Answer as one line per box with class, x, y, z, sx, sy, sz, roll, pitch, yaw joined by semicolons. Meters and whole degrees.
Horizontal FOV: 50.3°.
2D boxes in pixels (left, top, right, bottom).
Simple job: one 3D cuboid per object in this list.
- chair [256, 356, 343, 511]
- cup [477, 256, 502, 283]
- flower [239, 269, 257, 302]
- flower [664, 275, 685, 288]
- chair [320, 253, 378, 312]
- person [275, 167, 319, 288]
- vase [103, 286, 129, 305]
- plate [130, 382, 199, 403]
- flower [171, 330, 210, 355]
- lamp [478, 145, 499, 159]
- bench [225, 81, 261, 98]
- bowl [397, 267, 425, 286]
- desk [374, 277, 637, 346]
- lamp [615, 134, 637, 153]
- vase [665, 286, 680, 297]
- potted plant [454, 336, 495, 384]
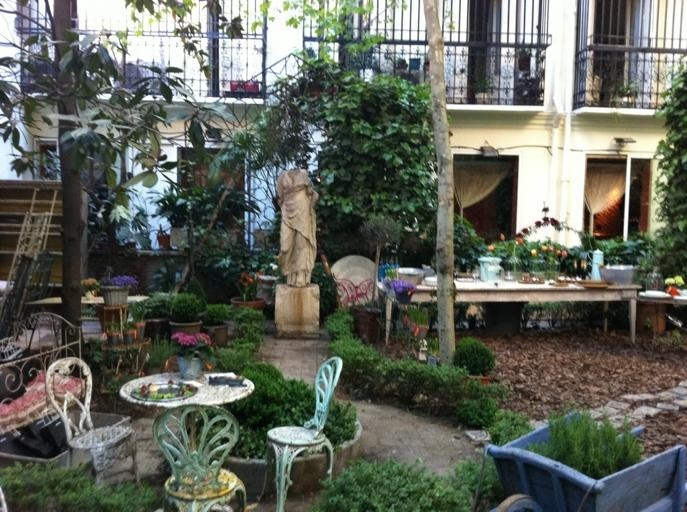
chair;-0.423;1.773;7.427;0.802;1.481;0.922;0;6;-17
cup;2.386;0.196;12.043;0.304;0.400;0.356;1;2;14
flower;-1.641;0.506;12.683;0.350;0.693;0.416;0;0;-3
flower;5.383;0.417;12.081;0.221;0.245;0.255;0;-6;8
chair;0.156;0.412;12.891;0.790;0.630;0.885;0;3;-12
person;-0.774;-0.481;12.032;0.662;1.907;0.397;1;6;-8
vase;-3.137;0.535;10.160;0.239;0.198;0.264;3;4;27
plate;-1.714;1.297;7.074;0.619;0.106;0.402;3;7;-6
flower;-1.552;0.911;7.496;0.389;0.226;0.353;3;6;5
lamp;2.844;-2.124;14.533;0.385;0.239;0.300;4;6;9
bench;-1.994;-3.378;14.679;0.687;0.392;0.571;2;6;-10
bowl;1.025;0.320;11.413;0.419;0.216;0.454;3;7;0
desk;2.701;0.792;12.126;4.673;0.922;1.798;1;7;-15
lamp;5.508;-2.229;14.484;0.494;0.342;0.246;2;6;-4
vase;5.214;0.563;11.736;0.197;0.134;0.446;6;7;24
potted plant;1.651;1.347;9.375;0.508;0.497;0.615;3;6;4
